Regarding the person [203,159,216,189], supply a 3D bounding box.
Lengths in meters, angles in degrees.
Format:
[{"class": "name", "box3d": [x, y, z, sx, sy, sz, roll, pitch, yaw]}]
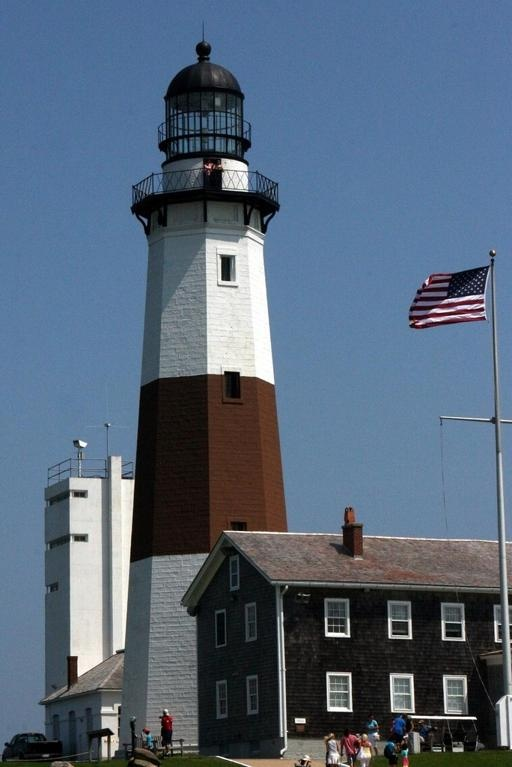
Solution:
[{"class": "person", "box3d": [-1.561, -7.347, 53.396, 0.715, 0.958, 0.544, -4, 1, -22]}]
